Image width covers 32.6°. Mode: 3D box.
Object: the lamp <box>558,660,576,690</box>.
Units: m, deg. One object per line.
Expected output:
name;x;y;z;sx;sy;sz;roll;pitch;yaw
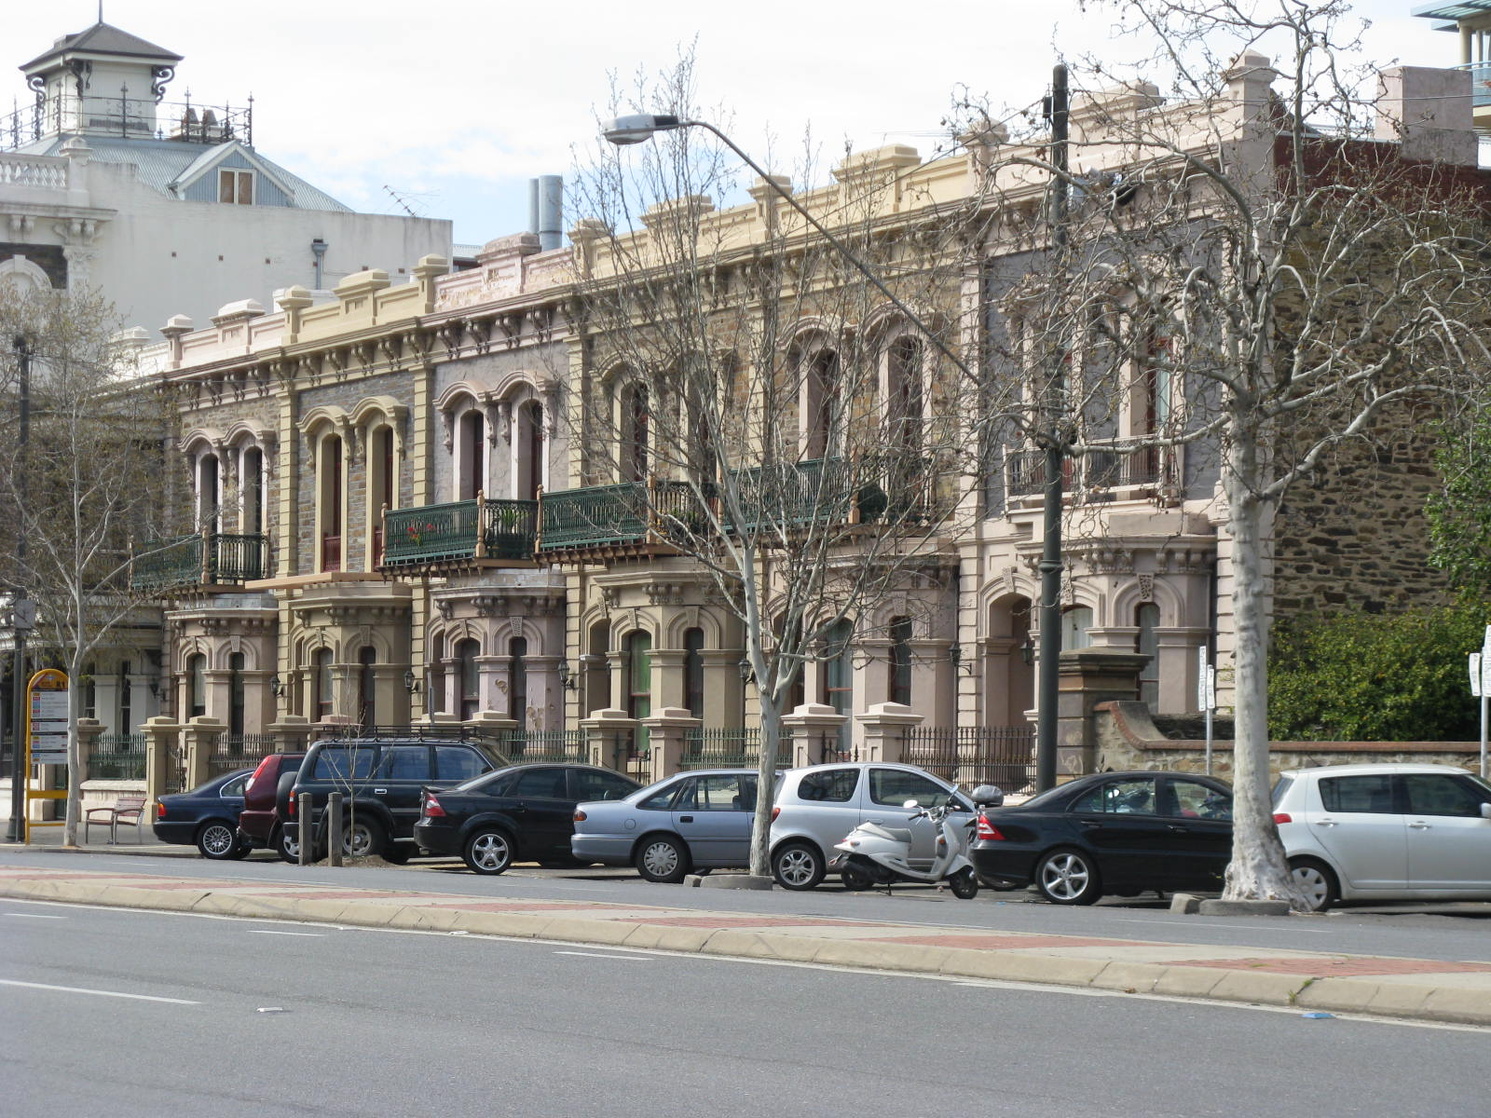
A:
lamp;-3.490;2.260;50.255;0.280;0.596;0.637;-2;-5;-11

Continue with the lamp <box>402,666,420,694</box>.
lamp;-7.149;2.555;54.387;0.419;0.616;0.460;-2;4;-8

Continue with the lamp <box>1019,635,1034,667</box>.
lamp;4.545;1.438;41.019;0.340;0.544;0.343;0;1;0

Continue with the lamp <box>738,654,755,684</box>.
lamp;-0.076;1.988;45.785;0.461;0.437;0.365;-1;3;-7

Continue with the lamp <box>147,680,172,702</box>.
lamp;-14.552;3.237;63.247;0.457;0.806;0.825;0;-1;-31

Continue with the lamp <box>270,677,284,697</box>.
lamp;-10.705;2.893;58.252;0.231;0.490;0.754;-1;-5;-17
